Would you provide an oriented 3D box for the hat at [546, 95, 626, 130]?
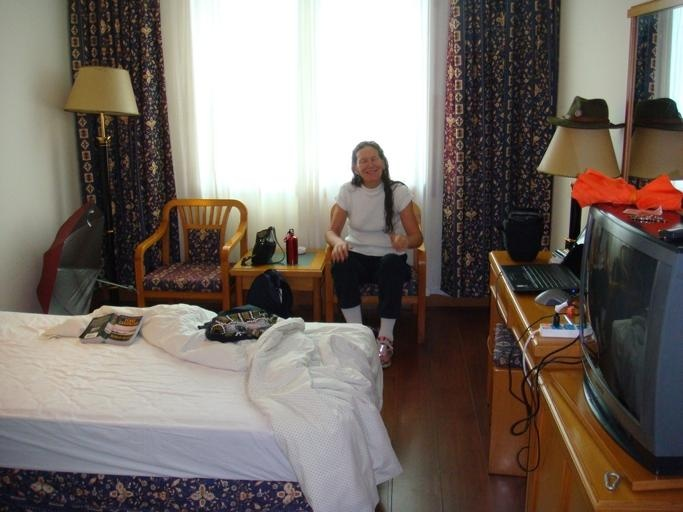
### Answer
[{"bbox_3d":[1.233,-0.734,2.838,0.332,0.161,0.246,4,16,17],"label":"hat"}]

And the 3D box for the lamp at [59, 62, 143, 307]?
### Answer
[{"bbox_3d":[-1.662,-0.577,4.164,0.463,1.624,0.501,-5,14,-16],"label":"lamp"}]

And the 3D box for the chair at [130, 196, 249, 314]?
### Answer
[{"bbox_3d":[-1.031,-0.008,4.317,0.801,1.312,0.839,0,7,-1],"label":"chair"}]

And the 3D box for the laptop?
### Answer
[{"bbox_3d":[0.930,0.017,2.508,0.224,0.188,0.279,0,8,10],"label":"laptop"}]

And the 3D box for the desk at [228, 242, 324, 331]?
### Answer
[{"bbox_3d":[-0.382,0.184,3.979,0.471,0.550,0.518,0,9,4],"label":"desk"}]
